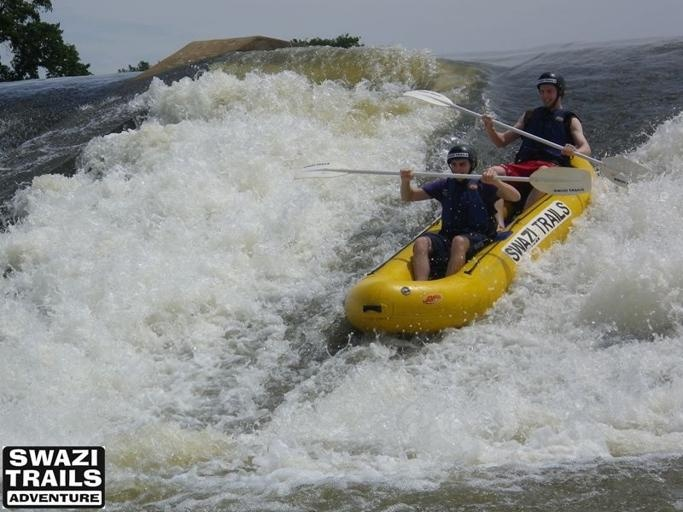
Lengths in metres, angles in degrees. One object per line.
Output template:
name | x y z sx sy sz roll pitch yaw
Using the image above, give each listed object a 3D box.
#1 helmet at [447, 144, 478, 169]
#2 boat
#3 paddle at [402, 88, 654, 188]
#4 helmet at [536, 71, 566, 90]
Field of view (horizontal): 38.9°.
helmet | 1.391 -1.148 11.173 0.320 0.262 0.227 24 69 -19
boat | 1.693 -0.296 11.101 3.474 0.779 1.429 -33 39 -31
paddle | 2.495 -1.536 12.732 3.542 0.535 0.140 28 18 15
helmet | 2.575 -2.176 11.823 0.309 0.187 0.371 16 34 24
